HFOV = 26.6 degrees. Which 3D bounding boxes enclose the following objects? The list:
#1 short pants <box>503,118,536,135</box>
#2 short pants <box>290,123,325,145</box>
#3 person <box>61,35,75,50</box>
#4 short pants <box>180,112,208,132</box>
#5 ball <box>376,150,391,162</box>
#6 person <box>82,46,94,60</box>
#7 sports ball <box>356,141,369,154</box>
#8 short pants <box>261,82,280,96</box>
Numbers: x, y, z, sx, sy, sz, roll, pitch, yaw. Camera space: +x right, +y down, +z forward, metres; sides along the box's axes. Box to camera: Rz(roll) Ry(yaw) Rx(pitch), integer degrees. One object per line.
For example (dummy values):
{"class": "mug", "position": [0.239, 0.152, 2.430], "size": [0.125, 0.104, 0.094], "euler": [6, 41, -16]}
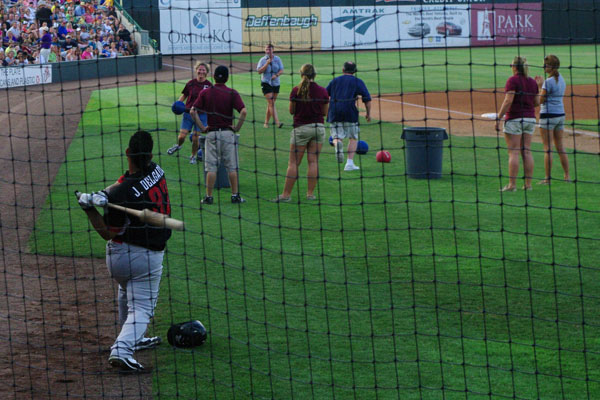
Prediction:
{"class": "short pants", "position": [5.521, -1.863, 31.996], "size": [0.911, 0.404, 0.522], "euler": [1, 15, 1]}
{"class": "short pants", "position": [0.227, -1.666, 31.872], "size": [1.039, 0.503, 0.576], "euler": [1, 17, -1]}
{"class": "person", "position": [-8.602, -5.940, 47.479], "size": [0.403, 0.540, 0.864], "euler": [-5, 11, -15]}
{"class": "short pants", "position": [-2.711, -2.070, 33.103], "size": [0.906, 0.578, 0.437], "euler": [0, 12, -9]}
{"class": "ball", "position": [2.237, -1.191, 34.137], "size": [0.420, 0.320, 0.289], "euler": [20, 45, -23]}
{"class": "person", "position": [-7.838, -5.556, 47.342], "size": [0.423, 0.454, 1.192], "euler": [-3, 10, -8]}
{"class": "sports ball", "position": [1.752, -1.507, 35.467], "size": [0.430, 0.300, 0.137], "euler": [-2, -4, -21]}
{"class": "short pants", "position": [-0.868, -3.396, 38.238], "size": [0.702, 0.354, 0.343], "euler": [-1, 9, -11]}
